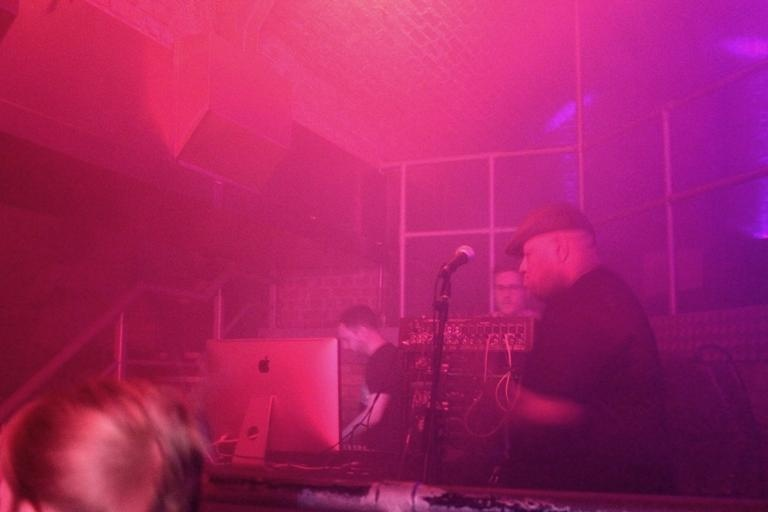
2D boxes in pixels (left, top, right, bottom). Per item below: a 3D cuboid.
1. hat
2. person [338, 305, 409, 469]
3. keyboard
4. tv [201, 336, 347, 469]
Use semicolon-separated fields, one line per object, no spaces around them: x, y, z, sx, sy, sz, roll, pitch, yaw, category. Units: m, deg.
0.930;-0.180;3.538;0.482;0.247;0.356;-8;-10;19;hat
-0.086;0.961;4.542;0.338;0.393;1.058;-9;19;2;person
-0.368;0.885;2.411;0.680;0.064;0.154;0;-14;14;keyboard
-0.535;0.733;3.018;0.533;0.450;0.180;-1;-4;11;tv
